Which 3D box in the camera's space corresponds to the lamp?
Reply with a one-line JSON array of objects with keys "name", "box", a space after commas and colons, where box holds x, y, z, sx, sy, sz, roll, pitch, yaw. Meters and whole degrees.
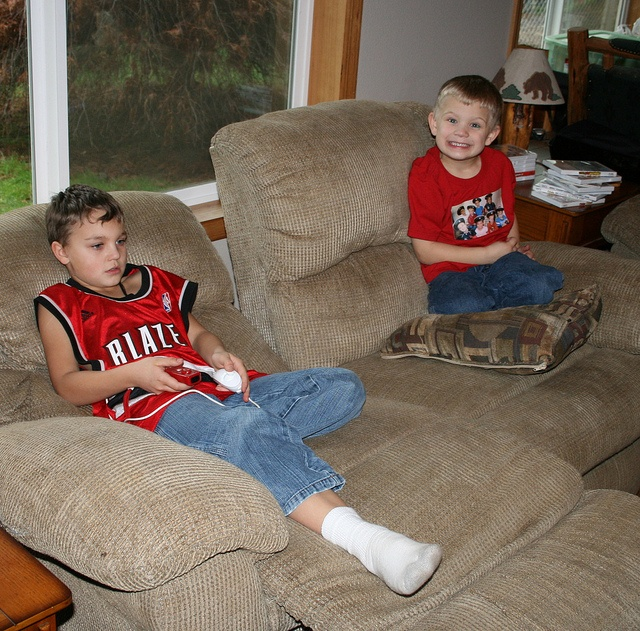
[{"name": "lamp", "box": [1.012, -1.073, 2.867, 0.358, 0.455, 0.338, -23, 40, -24]}]

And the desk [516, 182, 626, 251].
[{"name": "desk", "box": [1.078, -0.383, 2.561, 0.356, 0.190, 0.446, 19, 30, 40]}]
